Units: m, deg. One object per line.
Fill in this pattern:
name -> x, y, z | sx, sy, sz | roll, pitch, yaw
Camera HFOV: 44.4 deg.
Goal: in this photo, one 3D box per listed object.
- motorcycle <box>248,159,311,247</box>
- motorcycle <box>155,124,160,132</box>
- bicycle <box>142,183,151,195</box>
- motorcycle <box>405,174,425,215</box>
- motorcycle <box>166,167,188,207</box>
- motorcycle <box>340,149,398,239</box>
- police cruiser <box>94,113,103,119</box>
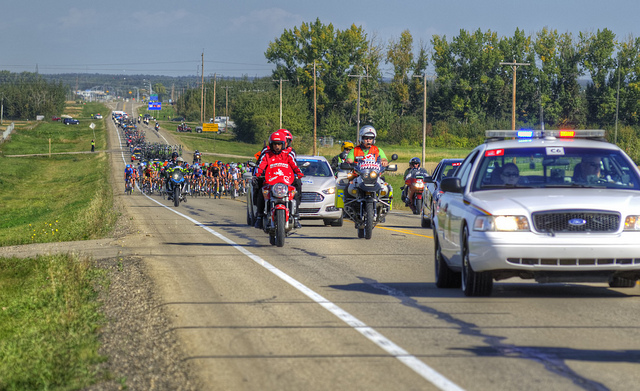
motorcycle -> -0.978, 0.238, 18.564 | 0.912, 2.121, 0.739 | 1, 9, -4
motorcycle -> -31.564, -12.996, 152.362 | 0.884, 0.966, 1.505 | 0, 2, -8
bicycle -> -12.082, -0.383, 54.583 | 0.560, 0.702, 1.259 | 0, -4, -7
motorcycle -> 3.399, 0.084, 28.716 | 0.608, 1.770, 2.299 | 2, 9, 6
motorcycle -> -6.548, -0.352, 35.840 | 0.785, 1.970, 1.573 | 0, 9, -10
motorcycle -> 1.226, 0.039, 20.169 | 1.387, 2.297, 1.099 | 0, 9, -11
police cruiser -> -57.599, -20.320, 204.267 | 1.733, 1.024, 3.116 | -1, 3, -9
